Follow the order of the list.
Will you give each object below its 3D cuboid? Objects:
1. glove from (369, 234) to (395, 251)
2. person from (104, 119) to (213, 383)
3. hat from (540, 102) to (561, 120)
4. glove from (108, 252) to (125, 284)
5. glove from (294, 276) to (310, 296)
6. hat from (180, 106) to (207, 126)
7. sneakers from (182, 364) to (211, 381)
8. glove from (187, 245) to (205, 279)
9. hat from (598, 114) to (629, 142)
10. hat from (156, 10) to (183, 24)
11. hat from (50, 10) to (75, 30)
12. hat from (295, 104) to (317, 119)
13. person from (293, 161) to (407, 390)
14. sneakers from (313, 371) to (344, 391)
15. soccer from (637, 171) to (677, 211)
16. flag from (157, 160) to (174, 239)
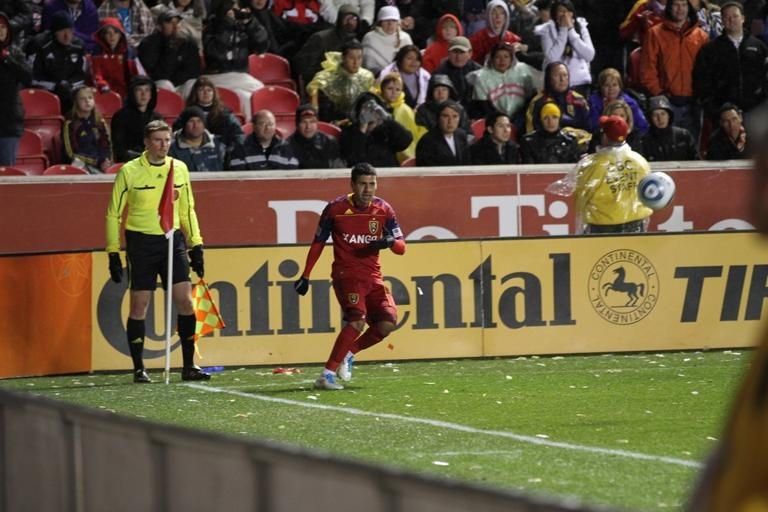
[{"bbox_3d":[-0.039,-0.166,19.270,0.331,0.164,0.253,-4,15,-17],"label":"glove"},{"bbox_3d":[-2.975,-0.056,19.675,1.240,3.367,0.786,-2,15,-11],"label":"person"},{"bbox_3d":[2.450,-2.162,22.655,0.251,0.181,0.242,2,6,9],"label":"hat"},{"bbox_3d":[-3.470,0.132,19.576,0.233,0.351,0.137,0,10,34],"label":"glove"},{"bbox_3d":[-1.088,0.377,19.579,0.184,0.231,0.248,23,13,32],"label":"glove"},{"bbox_3d":[-2.789,-1.994,21.821,0.363,0.264,0.267,12,-7,15],"label":"hat"},{"bbox_3d":[-2.494,1.528,19.944,0.344,0.197,0.184,-2,3,-4],"label":"sneakers"},{"bbox_3d":[-2.462,0.068,19.794,0.145,0.360,0.375,-6,5,-11],"label":"glove"},{"bbox_3d":[3.113,-1.750,20.760,0.281,0.223,0.412,-9,44,-9],"label":"hat"},{"bbox_3d":[-3.394,-3.729,23.785,0.358,0.231,0.283,-2,15,-11],"label":"hat"},{"bbox_3d":[-5.010,-3.633,23.452,0.311,0.262,0.278,12,13,19],"label":"hat"},{"bbox_3d":[-1.181,-2.091,22.308,0.204,0.207,0.272,1,-25,-10],"label":"hat"},{"bbox_3d":[-0.394,0.257,19.356,1.240,2.840,0.876,0,14,-2],"label":"person"},{"bbox_3d":[-0.721,1.562,19.318,0.363,0.226,0.209,0,14,-3],"label":"sneakers"},{"bbox_3d":[3.630,-0.891,20.644,0.495,0.526,0.481,12,6,-14],"label":"soccer"},{"bbox_3d":[-2.811,-0.749,19.478,0.220,0.912,0.325,-2,15,-9],"label":"flag"}]
